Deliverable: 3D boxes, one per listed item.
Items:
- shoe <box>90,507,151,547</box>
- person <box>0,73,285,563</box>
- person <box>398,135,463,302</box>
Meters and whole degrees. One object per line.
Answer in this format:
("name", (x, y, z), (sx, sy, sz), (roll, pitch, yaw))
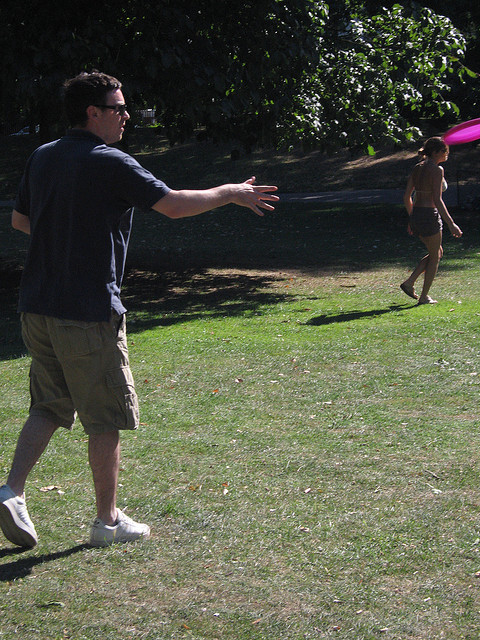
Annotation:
("shoe", (-0.539, 0.926, 3.542), (0.301, 0.132, 0.123), (5, 2, -43))
("person", (-0.676, -0.052, 3.580), (1.219, 2.069, 0.741), (-12, 14, -21))
("person", (2.035, -1.092, 8.567), (0.687, 1.796, 0.821), (-6, 14, 5))
